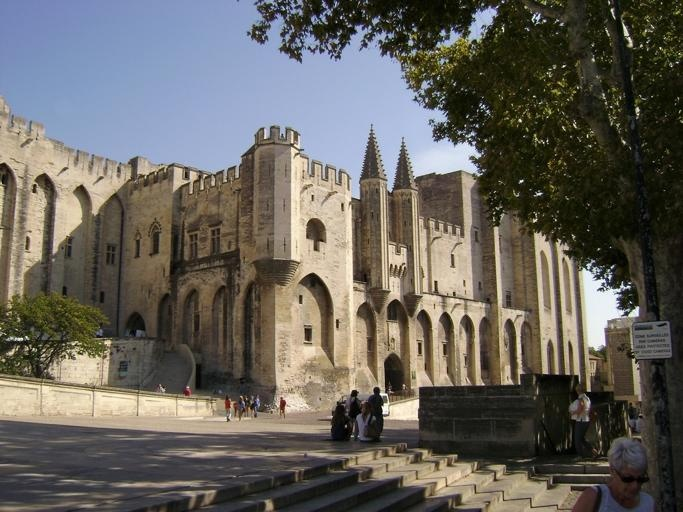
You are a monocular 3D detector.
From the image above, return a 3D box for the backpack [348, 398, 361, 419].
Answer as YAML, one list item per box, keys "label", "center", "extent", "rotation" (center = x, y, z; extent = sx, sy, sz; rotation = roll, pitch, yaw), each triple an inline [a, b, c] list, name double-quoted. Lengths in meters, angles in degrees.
- label: "backpack"
  center: [0.378, 4.060, 19.474]
  extent: [0.381, 0.712, 0.497]
  rotation: [-6, -17, 20]

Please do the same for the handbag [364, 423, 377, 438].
- label: "handbag"
  center: [0.681, 4.204, 17.631]
  extent: [0.309, 0.398, 0.211]
  rotation: [-7, -12, 41]

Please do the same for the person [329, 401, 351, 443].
- label: "person"
  center: [-0.009, 4.179, 18.448]
  extent: [0.488, 0.910, 0.843]
  rotation: [0, -13, 0]
